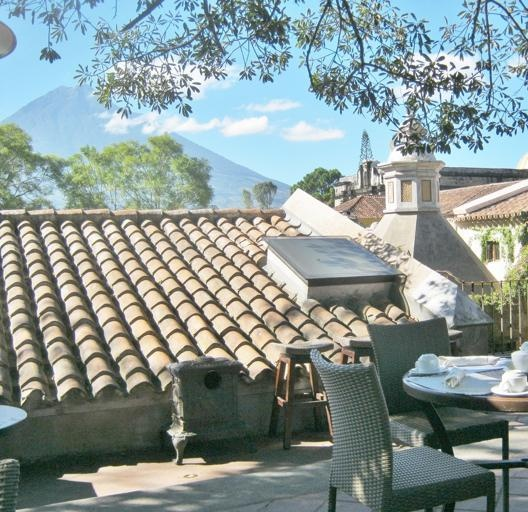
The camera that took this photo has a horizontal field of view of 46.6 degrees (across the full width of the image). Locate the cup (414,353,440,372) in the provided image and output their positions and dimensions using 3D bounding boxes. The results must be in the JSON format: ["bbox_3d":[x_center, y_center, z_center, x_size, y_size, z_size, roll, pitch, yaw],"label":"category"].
[{"bbox_3d":[1.044,0.674,3.944,0.127,0.085,0.115,-5,5,-30],"label":"cup"}]
